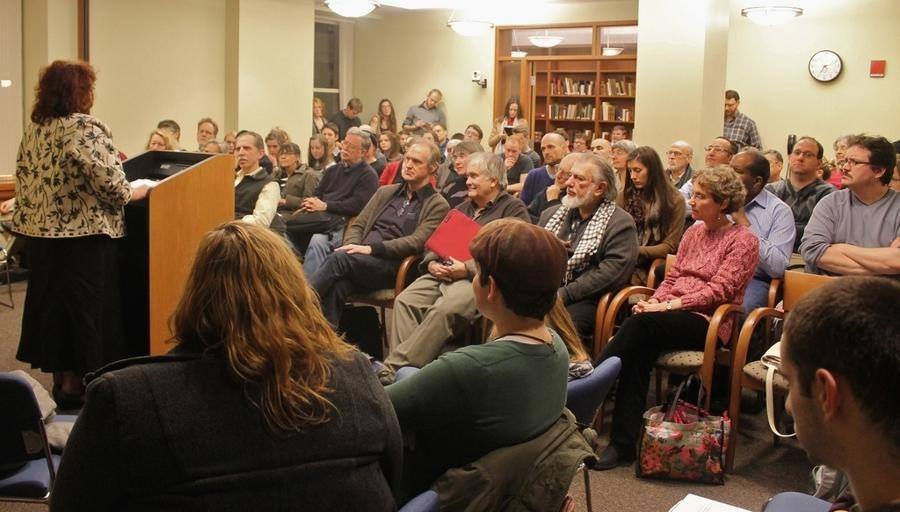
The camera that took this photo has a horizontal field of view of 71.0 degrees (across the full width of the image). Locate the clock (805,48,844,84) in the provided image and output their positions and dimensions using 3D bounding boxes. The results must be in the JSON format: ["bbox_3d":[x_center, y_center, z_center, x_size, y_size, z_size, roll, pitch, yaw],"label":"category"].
[{"bbox_3d":[6.282,-3.196,10.550,0.093,0.684,0.634,0,2,-43],"label":"clock"}]

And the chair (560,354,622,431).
[{"bbox_3d":[0.667,0.632,2.965,0.308,0.334,0.270,4,6,17],"label":"chair"}]

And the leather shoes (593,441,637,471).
[{"bbox_3d":[1.008,1.223,3.876,0.252,0.133,0.170,3,7,10],"label":"leather shoes"}]

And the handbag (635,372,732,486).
[{"bbox_3d":[1.382,1.048,3.756,0.624,0.783,0.335,2,-1,10],"label":"handbag"}]

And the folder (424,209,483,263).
[{"bbox_3d":[0.015,-0.146,4.748,0.381,0.383,0.101,37,6,16],"label":"folder"}]

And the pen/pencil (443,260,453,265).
[{"bbox_3d":[-0.030,0.040,4.745,0.028,0.024,0.095,5,-3,-28],"label":"pen/pencil"}]

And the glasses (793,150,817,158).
[{"bbox_3d":[3.037,-0.876,5.407,0.083,0.036,0.101,0,-11,42],"label":"glasses"}]

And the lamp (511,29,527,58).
[{"bbox_3d":[1.301,-4.298,12.800,0.466,0.653,0.467,-1,5,3],"label":"lamp"}]

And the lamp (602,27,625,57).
[{"bbox_3d":[3.012,-4.020,11.901,0.426,0.421,0.419,-5,2,-29],"label":"lamp"}]
